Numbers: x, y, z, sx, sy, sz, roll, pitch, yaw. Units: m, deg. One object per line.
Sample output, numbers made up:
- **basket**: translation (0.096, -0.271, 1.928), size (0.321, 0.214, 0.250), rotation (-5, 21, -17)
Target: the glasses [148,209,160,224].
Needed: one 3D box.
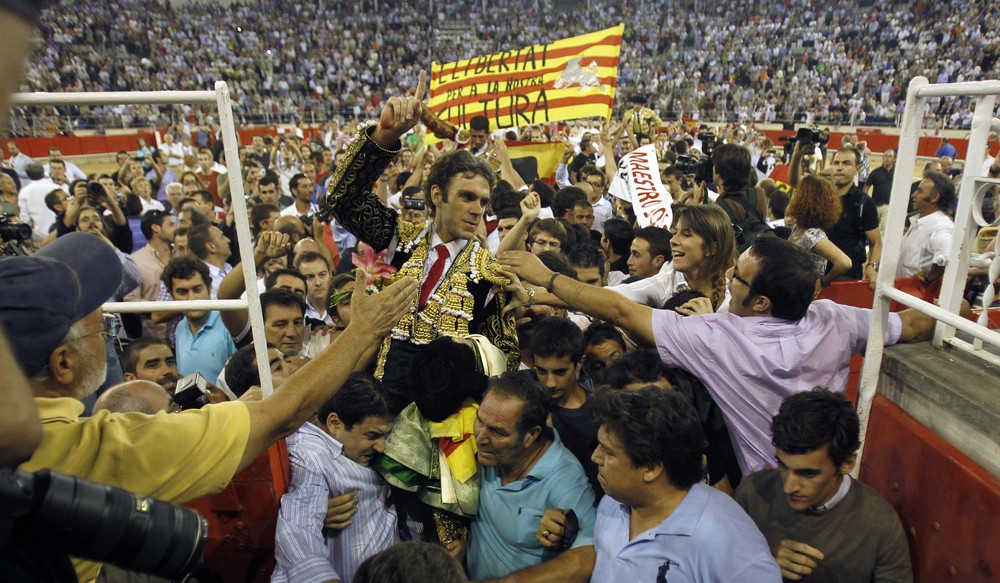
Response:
- **glasses**: translation (-3.608, -0.772, 8.353), size (0.142, 0.105, 0.144), rotation (5, 1, 9)

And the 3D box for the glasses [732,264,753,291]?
- **glasses**: translation (1.712, -0.096, 5.697), size (0.135, 0.037, 0.137), rotation (33, 8, 2)

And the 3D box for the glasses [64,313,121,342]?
- **glasses**: translation (-2.361, 0.221, 4.658), size (0.240, 0.089, 0.178), rotation (-10, 20, 26)

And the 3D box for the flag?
- **flag**: translation (0.210, -2.531, 9.979), size (2.686, 1.221, 0.151), rotation (-1, -10, 30)

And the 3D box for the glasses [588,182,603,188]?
- **glasses**: translation (1.256, -1.380, 10.402), size (0.108, 0.042, 0.086), rotation (10, 9, 44)
